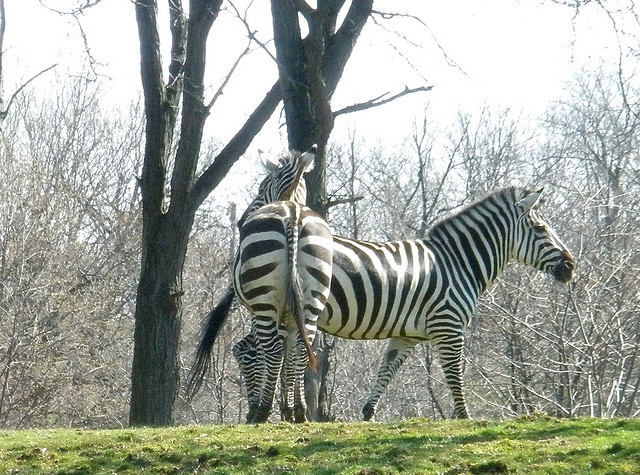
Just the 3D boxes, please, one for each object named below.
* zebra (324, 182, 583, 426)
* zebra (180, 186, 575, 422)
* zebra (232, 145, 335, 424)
[{"bbox_3d":[1.878,1.275,19.593,6.194,4.524,1.792,-1,1,-6],"label":"zebra"},{"bbox_3d":[1.154,1.309,19.460,7.467,5.258,1.658,2,8,-11],"label":"zebra"},{"bbox_3d":[-0.681,0.841,20.324,1.707,5.112,6.729,4,8,-2],"label":"zebra"}]
